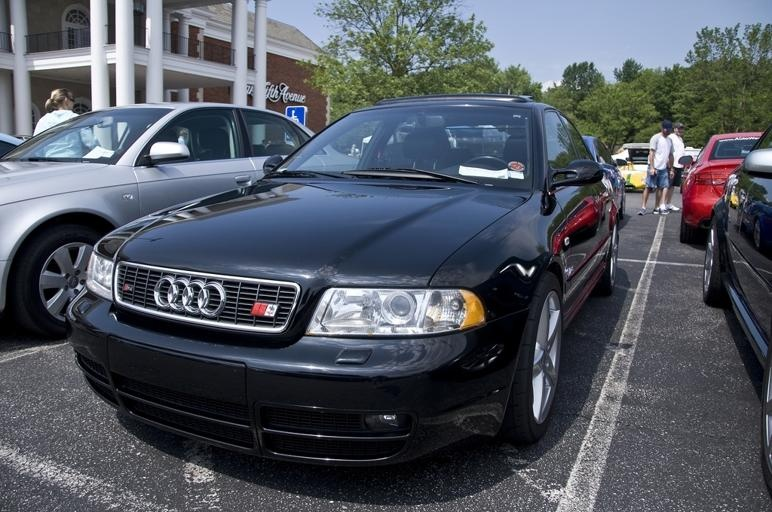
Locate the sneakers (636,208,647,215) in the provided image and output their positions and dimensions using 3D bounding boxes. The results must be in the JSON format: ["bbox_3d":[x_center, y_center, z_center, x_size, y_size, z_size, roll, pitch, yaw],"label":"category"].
[{"bbox_3d":[6.622,-1.172,12.919,0.134,0.151,0.399,1,4,40],"label":"sneakers"}]
